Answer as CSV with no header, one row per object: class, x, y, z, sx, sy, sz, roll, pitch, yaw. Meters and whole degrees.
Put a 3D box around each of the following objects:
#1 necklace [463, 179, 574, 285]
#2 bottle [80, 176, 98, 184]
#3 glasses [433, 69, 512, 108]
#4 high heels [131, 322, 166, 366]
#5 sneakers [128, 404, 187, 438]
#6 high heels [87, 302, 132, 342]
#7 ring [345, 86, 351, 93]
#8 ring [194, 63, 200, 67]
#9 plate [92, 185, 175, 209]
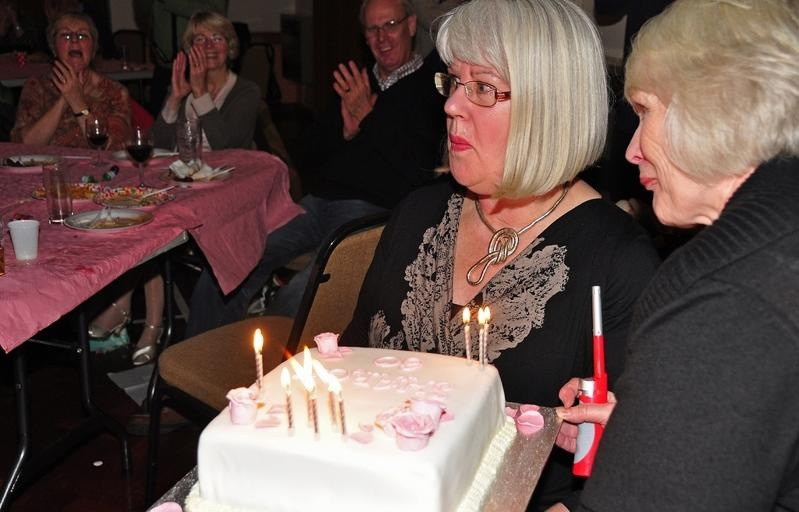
necklace,0.394,-0.068,2.106,0.242,0.073,0.423,19,65,43
bottle,-1.610,-0.394,3.220,0.067,0.033,0.054,11,11,44
glasses,0.206,-0.521,1.955,0.110,0.080,0.325,-10,27,-28
high heels,-1.541,0.536,3.809,0.105,0.124,0.303,2,12,4
sneakers,-1.286,0.872,3.225,0.198,0.069,0.259,-1,7,-1
high heels,-1.823,0.404,3.884,0.311,0.115,0.128,-42,-2,-1
ring,-0.333,-1.084,4.082,0.030,0.032,0.007,-4,25,-3
ring,-1.328,-1.244,4.080,0.028,0.030,0.007,-2,1,4
plate,-1.269,-0.281,2.976,0.222,0.035,0.179,-2,18,1
